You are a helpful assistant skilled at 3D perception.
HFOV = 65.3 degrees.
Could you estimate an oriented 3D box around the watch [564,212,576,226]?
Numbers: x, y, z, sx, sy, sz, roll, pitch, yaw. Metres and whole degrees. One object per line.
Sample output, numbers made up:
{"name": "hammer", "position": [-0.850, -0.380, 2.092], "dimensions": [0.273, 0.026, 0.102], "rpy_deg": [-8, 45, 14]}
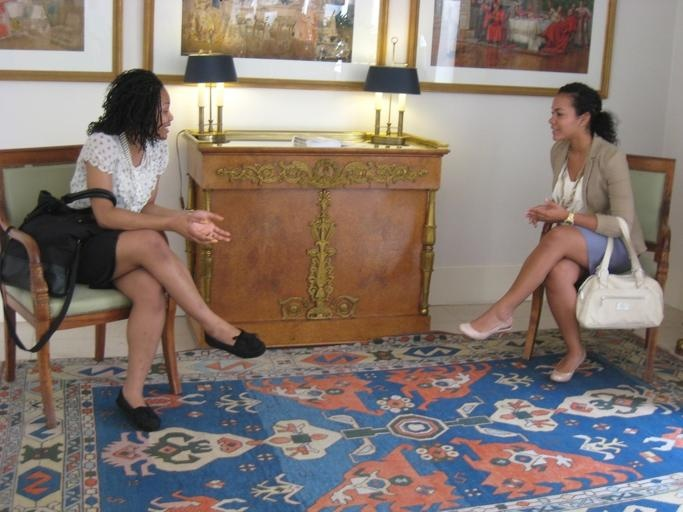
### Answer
{"name": "watch", "position": [1.224, -0.194, 2.874], "dimensions": [0.054, 0.075, 0.069], "rpy_deg": [9, 53, 16]}

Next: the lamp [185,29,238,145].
{"name": "lamp", "position": [-0.815, -0.952, 3.323], "dimensions": [0.353, 0.492, 0.339], "rpy_deg": [3, 9, 17]}

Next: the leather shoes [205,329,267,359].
{"name": "leather shoes", "position": [-0.499, 0.407, 2.503], "dimensions": [0.247, 0.079, 0.132], "rpy_deg": [12, 34, 6]}

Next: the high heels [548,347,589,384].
{"name": "high heels", "position": [1.243, 0.618, 2.967], "dimensions": [0.091, 0.070, 0.253], "rpy_deg": [10, 21, 32]}

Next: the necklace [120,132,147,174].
{"name": "necklace", "position": [-0.957, -0.471, 2.442], "dimensions": [0.034, 0.138, 0.104], "rpy_deg": [-33, -33, 13]}

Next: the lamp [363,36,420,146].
{"name": "lamp", "position": [0.347, -1.054, 3.643], "dimensions": [0.436, 0.609, 0.427], "rpy_deg": [6, 13, 19]}

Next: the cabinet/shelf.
{"name": "cabinet/shelf", "position": [-0.299, -0.073, 3.609], "dimensions": [1.651, 1.169, 0.907], "rpy_deg": [0, 1, -28]}

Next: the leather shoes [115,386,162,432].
{"name": "leather shoes", "position": [-0.938, 0.703, 2.403], "dimensions": [0.291, 0.105, 0.108], "rpy_deg": [28, 30, 32]}

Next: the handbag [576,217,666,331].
{"name": "handbag", "position": [1.445, 0.087, 2.780], "dimensions": [0.439, 0.555, 0.232], "rpy_deg": [-2, 14, -15]}
